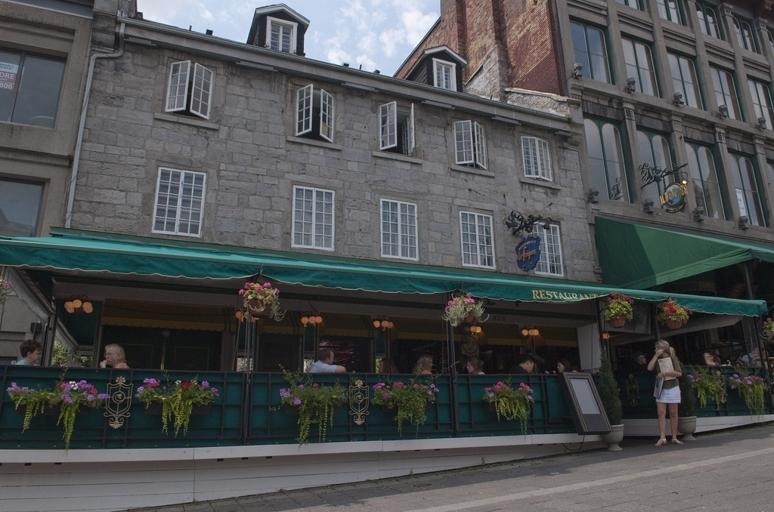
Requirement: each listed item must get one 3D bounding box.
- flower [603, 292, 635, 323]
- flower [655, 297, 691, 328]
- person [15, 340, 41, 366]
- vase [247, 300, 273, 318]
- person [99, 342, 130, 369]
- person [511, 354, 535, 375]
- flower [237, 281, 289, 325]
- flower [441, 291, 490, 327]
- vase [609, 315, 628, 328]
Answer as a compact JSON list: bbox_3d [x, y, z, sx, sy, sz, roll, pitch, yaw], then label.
[{"bbox_3d":[6.356,1.439,17.764,0.780,0.756,0.753,12,-28,-21],"label":"flower"},{"bbox_3d":[8.120,1.647,18.328,0.881,0.821,0.852,4,-14,-7],"label":"flower"},{"bbox_3d":[-7.928,2.140,14.376,0.373,0.668,1.189,6,-17,-29],"label":"person"},{"bbox_3d":[-2.976,1.248,15.095,0.487,0.370,0.545,7,-18,-28],"label":"vase"},{"bbox_3d":[-6.047,2.236,14.343,0.472,0.661,1.184,4,-16,-25],"label":"person"},{"bbox_3d":[3.775,2.979,17.854,0.497,0.702,2.621,-7,-15,13],"label":"person"},{"bbox_3d":[-2.843,0.951,14.956,0.764,0.508,0.777,5,-1,15],"label":"flower"},{"bbox_3d":[2.057,1.363,17.153,1.179,0.970,1.055,9,-22,-27],"label":"flower"},{"bbox_3d":[6.251,1.813,17.579,0.400,0.240,0.380,5,-22,-3],"label":"vase"}]
